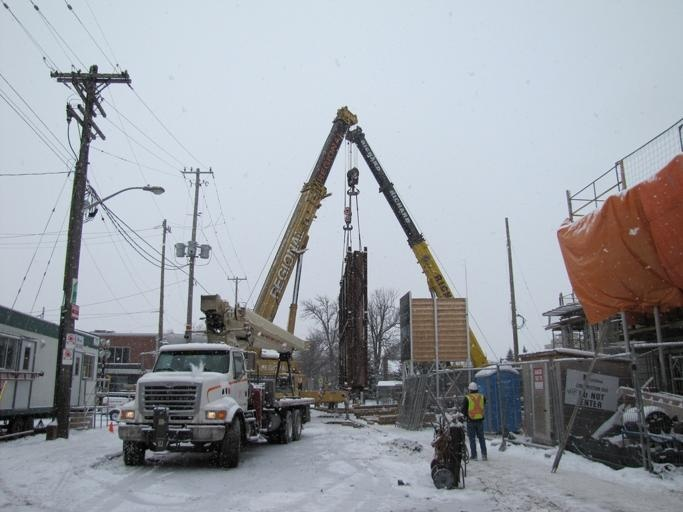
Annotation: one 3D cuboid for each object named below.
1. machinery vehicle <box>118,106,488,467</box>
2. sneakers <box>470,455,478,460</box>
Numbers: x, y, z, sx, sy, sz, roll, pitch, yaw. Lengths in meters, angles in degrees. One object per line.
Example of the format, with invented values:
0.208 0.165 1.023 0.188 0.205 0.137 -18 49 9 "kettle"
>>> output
-0.243 0.646 20.957 11.756 12.970 3.399 2 -16 -23 "machinery vehicle"
3.455 5.221 14.504 0.088 0.165 0.225 8 -9 -37 "sneakers"
